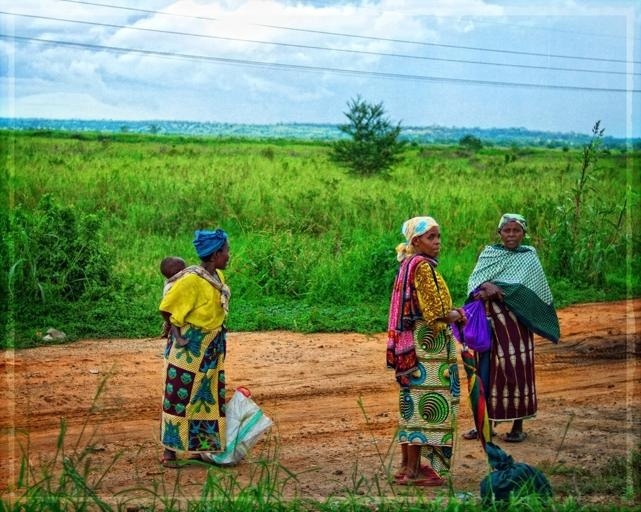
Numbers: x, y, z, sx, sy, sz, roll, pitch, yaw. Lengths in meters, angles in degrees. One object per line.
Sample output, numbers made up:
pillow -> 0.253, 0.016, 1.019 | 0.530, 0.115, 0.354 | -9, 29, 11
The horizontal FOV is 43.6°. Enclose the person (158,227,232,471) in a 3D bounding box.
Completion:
person -> -1.262, 0.906, 8.050 | 0.704, 2.344, 0.323 | -2, 3, -12

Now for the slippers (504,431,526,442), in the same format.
slippers -> 2.111, 1.974, 8.801 | 0.194, 0.089, 0.108 | 3, 0, -10

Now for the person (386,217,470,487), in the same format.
person -> 0.998, 0.905, 7.718 | 0.739, 2.570, 0.438 | -1, 3, 5

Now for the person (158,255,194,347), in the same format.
person -> -1.475, 0.479, 8.484 | 0.417, 0.992, 0.326 | -4, 27, 0

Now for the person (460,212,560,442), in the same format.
person -> 1.989, 0.791, 8.410 | 0.934, 1.821, 0.490 | -1, 3, 1

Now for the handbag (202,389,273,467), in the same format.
handbag -> -0.852, 1.771, 8.155 | 0.706, 0.657, 0.263 | -45, -5, 1

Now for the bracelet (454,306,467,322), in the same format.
bracelet -> 1.331, 0.561, 7.750 | 0.124, 0.132, 0.058 | 19, -17, -17
